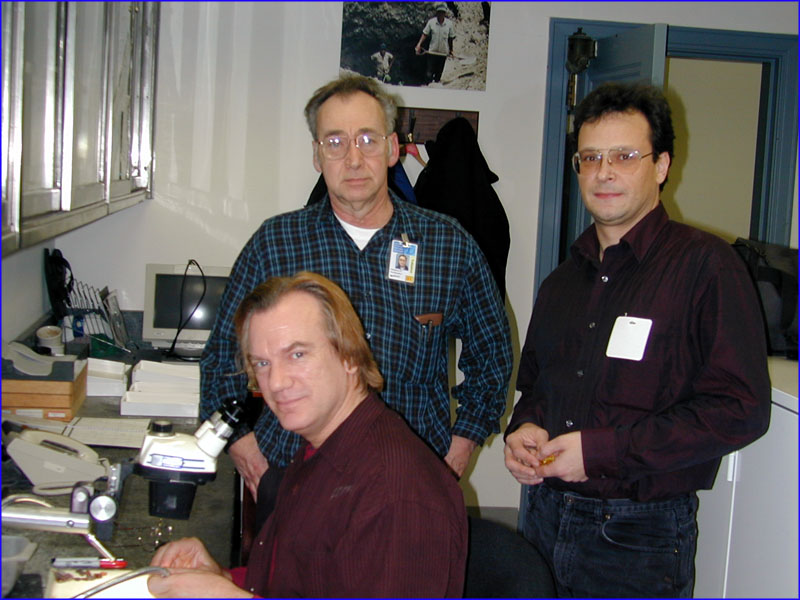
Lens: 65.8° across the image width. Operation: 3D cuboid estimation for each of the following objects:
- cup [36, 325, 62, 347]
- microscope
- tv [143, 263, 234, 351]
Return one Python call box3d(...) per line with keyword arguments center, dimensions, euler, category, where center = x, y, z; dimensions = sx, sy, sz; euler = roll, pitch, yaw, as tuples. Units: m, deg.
box3d(center=(-1.661, 0.163, 2.916), dimensions=(0.091, 0.074, 0.097), euler=(11, 19, -4), category="cup")
box3d(center=(-0.554, 0.417, 1.695), dimensions=(0.257, 0.306, 0.264), euler=(6, 8, -8), category="microscope")
box3d(center=(-1.261, 0.076, 3.789), dimensions=(0.530, 0.512, 0.280), euler=(3, -7, -4), category="tv")
